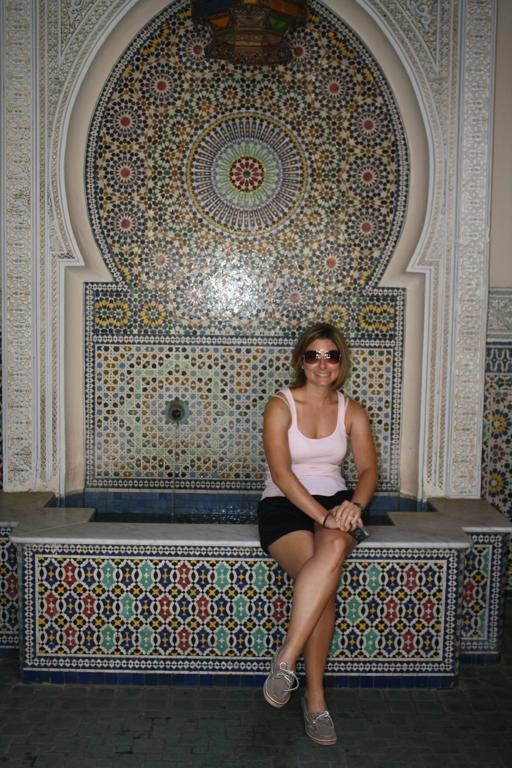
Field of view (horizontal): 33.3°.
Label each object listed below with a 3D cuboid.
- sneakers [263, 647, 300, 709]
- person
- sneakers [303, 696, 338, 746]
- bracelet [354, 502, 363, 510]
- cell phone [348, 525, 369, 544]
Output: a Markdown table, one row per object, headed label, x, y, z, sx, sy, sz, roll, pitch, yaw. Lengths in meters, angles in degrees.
| label | x | y | z | sx | sy | sz | roll | pitch | yaw |
| --- | --- | --- | --- | --- | --- | --- | --- | --- | --- |
| sneakers | 0.071 | 0.812 | 2.399 | 0.080 | 0.072 | 0.193 | 41 | 13 | -6 |
| person | 0.177 | 0.395 | 2.676 | 0.381 | 1.132 | 0.865 | 3 | 9 | 7 |
| sneakers | 0.175 | 0.947 | 2.414 | 0.098 | 0.096 | 0.115 | 2 | 8 | 3 |
| bracelet | 0.321 | 0.384 | 2.698 | 0.025 | 0.008 | 0.018 | 23 | 0 | -43 |
| cell phone | 0.308 | 0.462 | 2.628 | 0.067 | 0.059 | 0.027 | -3 | 10 | -30 |
